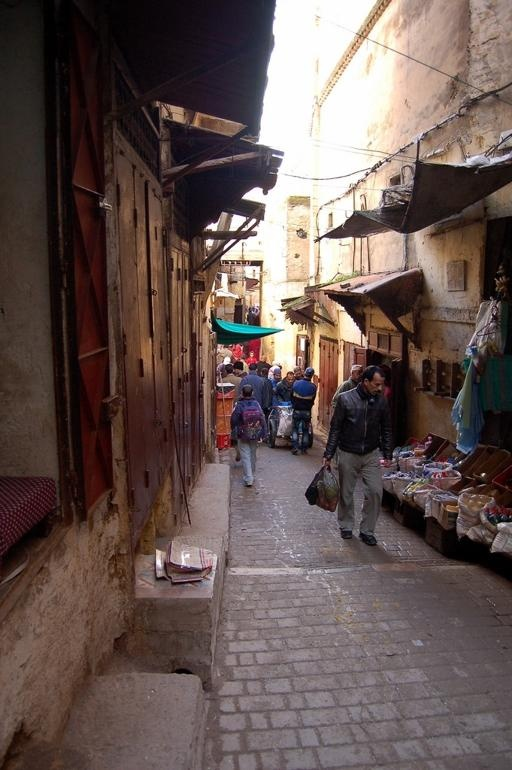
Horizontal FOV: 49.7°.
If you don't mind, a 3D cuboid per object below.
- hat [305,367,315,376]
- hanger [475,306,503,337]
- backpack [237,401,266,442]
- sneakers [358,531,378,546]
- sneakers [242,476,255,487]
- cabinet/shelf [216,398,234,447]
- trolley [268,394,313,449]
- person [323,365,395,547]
[{"bbox_3d":[1.124,-0.286,11.804,0.160,0.165,0.523,0,-1,3],"label":"hat"},{"bbox_3d":[2.485,-0.682,5.868,0.031,0.336,0.246,8,-11,-13],"label":"hanger"},{"bbox_3d":[-0.103,0.567,8.823,0.483,1.071,0.448,0,-2,-19],"label":"backpack"},{"bbox_3d":[1.188,1.614,5.851,0.074,0.136,0.230,1,-5,-15],"label":"sneakers"},{"bbox_3d":[-0.136,1.586,9.136,0.176,0.149,0.266,0,-1,-1],"label":"sneakers"},{"bbox_3d":[-0.734,0.837,12.770,0.378,1.296,0.545,0,0,-8],"label":"cabinet/shelf"},{"bbox_3d":[0.735,0.839,12.964,0.692,1.374,1.123,2,-2,-3],"label":"trolley"},{"bbox_3d":[1.091,0.719,5.936,0.562,2.204,0.599,6,31,14],"label":"person"}]
